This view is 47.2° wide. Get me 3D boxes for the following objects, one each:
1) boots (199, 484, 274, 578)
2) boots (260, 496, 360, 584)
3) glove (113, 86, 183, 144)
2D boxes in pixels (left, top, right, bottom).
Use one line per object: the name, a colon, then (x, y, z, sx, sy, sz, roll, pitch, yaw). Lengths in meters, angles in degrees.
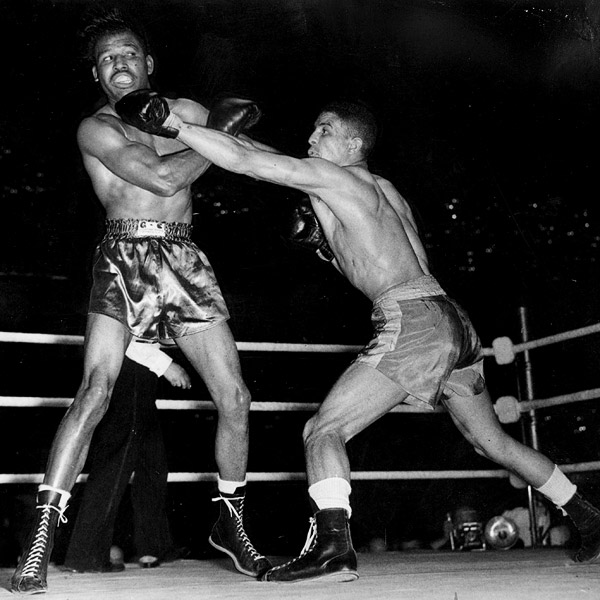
boots: (-0.168, 0.666, 2.007, 0.104, 0.185, 0.276, 1, 10, -41)
boots: (0.022, 0.622, 1.740, 0.266, 0.182, 0.094, -17, -30, 28)
glove: (-0.397, -0.479, 1.766, 0.112, 0.072, 0.151, 10, -33, 18)
